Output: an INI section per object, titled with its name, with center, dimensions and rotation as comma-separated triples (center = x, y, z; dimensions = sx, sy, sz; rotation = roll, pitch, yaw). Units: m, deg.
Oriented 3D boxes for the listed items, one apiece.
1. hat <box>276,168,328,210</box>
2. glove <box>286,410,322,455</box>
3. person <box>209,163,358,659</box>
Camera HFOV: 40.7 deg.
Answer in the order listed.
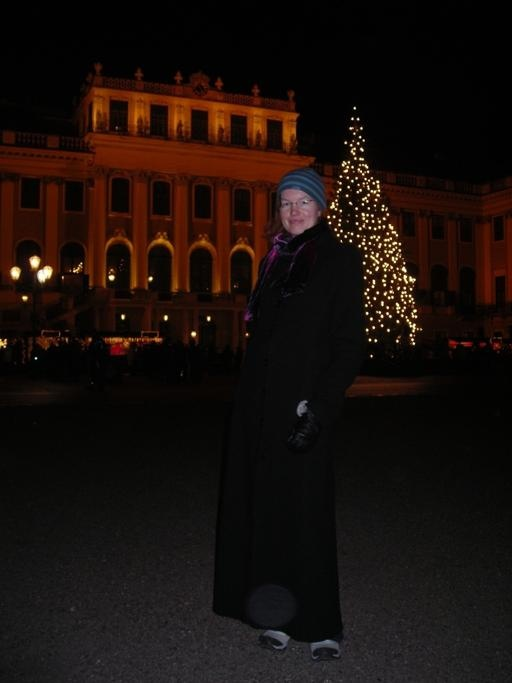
[hat]
center = 0.208, -0.673, 2.864
dimensions = 0.158, 0.156, 0.176
rotation = 13, -16, 11
[glove]
center = 0.163, 0.308, 2.370
dimensions = 0.108, 0.140, 0.073
rotation = 3, 0, 5
[person]
center = 0.132, 0.196, 2.605
dimensions = 0.391, 1.750, 0.536
rotation = 3, 0, -27
